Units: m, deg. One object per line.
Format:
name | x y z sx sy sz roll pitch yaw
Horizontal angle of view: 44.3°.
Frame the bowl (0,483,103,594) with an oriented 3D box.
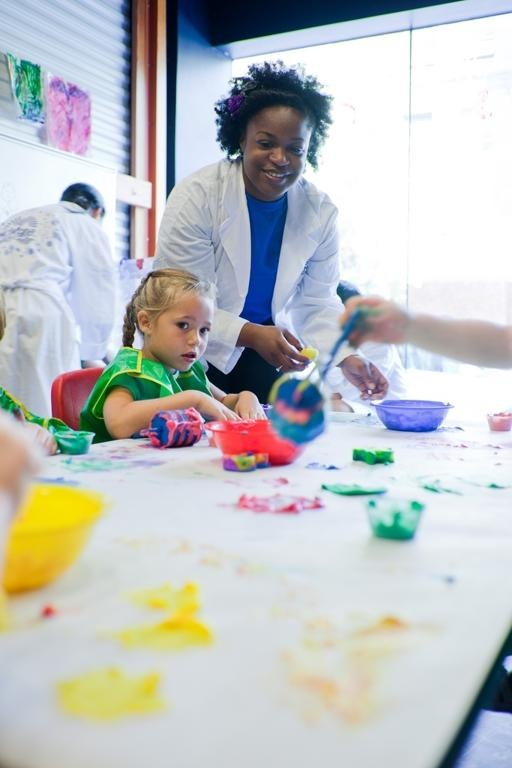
bowl | -0.178 0.141 0.539 0.095 0.036 0.098 -2 15 1
